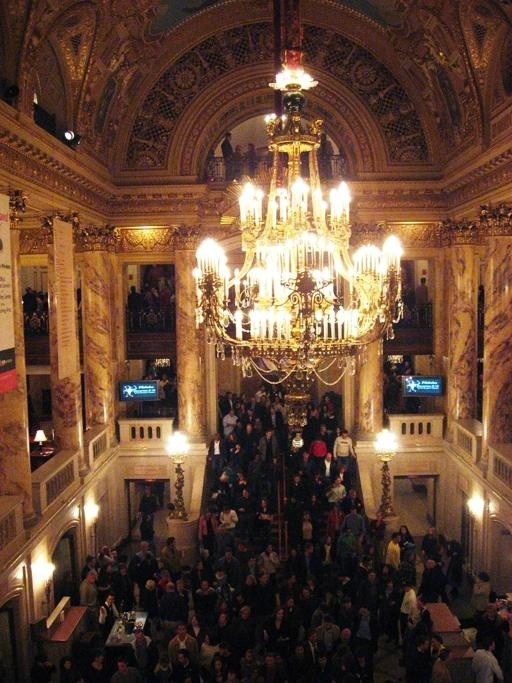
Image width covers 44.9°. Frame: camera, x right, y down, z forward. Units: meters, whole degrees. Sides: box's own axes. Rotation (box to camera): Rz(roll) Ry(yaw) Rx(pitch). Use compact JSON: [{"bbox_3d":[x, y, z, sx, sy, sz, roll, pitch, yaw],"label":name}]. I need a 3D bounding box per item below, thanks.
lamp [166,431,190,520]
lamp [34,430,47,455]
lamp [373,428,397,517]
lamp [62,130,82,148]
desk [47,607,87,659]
[{"bbox_3d":[-1.385,2.361,11.209,0.346,1.184,0.330,3,13,21],"label":"lamp"},{"bbox_3d":[-3.712,1.726,10.605,0.271,0.423,0.261,1,8,-3],"label":"lamp"},{"bbox_3d":[2.196,2.069,10.536,0.384,0.907,0.381,-10,13,-20],"label":"lamp"},{"bbox_3d":[-2.884,-3.136,9.531,0.310,0.233,0.308,1,3,16],"label":"lamp"},{"bbox_3d":[-2.423,3.706,7.854,0.184,0.360,0.726,3,7,6],"label":"desk"}]
